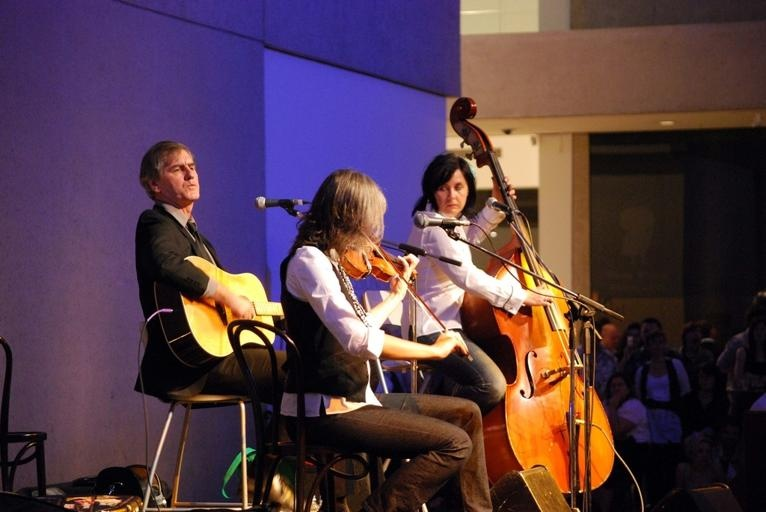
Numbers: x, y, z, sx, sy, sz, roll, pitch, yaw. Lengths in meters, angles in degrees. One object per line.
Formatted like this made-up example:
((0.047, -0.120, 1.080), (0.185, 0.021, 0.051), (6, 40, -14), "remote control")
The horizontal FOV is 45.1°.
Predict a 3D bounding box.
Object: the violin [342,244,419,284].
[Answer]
((-0.044, 0.019, 4.830), (0.313, 0.099, 0.172), (12, 34, -45), "violin")

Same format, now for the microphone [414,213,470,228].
((0.321, -0.203, 5.189), (0.344, 0.095, 0.083), (8, 11, -20), "microphone")

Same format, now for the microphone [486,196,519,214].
((0.737, -0.317, 5.714), (0.206, 0.063, 0.055), (32, -56, -27), "microphone")

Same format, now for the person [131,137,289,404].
((-0.971, 0.089, 5.353), (0.947, 1.576, 0.903), (-8, -6, 39), "person")

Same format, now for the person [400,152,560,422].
((0.584, 0.158, 5.579), (0.473, 1.709, 0.818), (-3, -10, 27), "person")

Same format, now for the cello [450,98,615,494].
((0.876, 0.302, 5.771), (0.847, 2.366, 0.554), (2, -22, -34), "cello")
